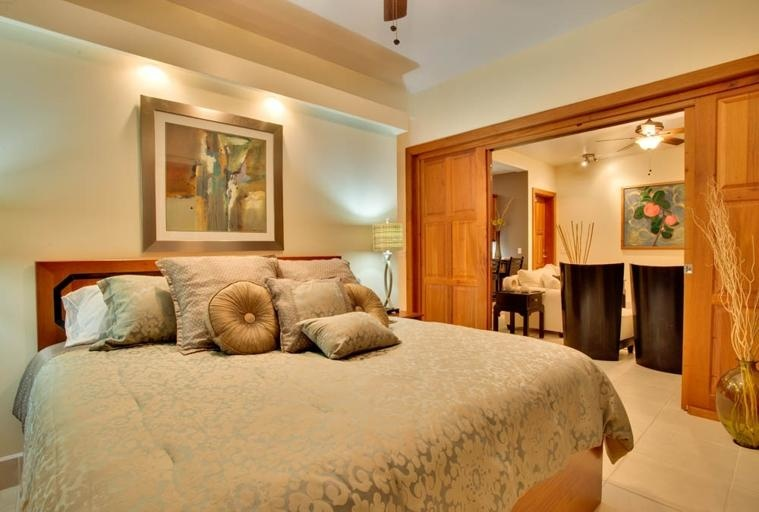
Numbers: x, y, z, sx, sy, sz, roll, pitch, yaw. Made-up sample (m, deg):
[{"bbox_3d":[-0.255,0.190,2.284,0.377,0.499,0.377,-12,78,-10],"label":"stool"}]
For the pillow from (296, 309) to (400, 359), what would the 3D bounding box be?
[{"bbox_3d":[-0.210,0.533,3.661,0.556,0.242,0.711,-9,12,-28],"label":"pillow"}]

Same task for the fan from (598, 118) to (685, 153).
[{"bbox_3d":[3.475,-1.642,6.621,0.782,0.295,0.809,-5,1,28],"label":"fan"}]

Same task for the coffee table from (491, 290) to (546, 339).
[{"bbox_3d":[1.819,0.748,6.492,0.607,0.628,0.565,-2,3,-28],"label":"coffee table"}]

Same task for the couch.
[{"bbox_3d":[2.244,0.503,6.844,0.778,0.881,1.133,-5,-6,44],"label":"couch"}]

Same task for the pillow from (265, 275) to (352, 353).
[{"bbox_3d":[-0.540,0.367,3.571,0.555,0.527,0.168,0,-26,-40],"label":"pillow"}]

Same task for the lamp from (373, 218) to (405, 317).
[{"bbox_3d":[0.090,0.122,5.485,0.313,0.987,0.314,-1,0,21],"label":"lamp"}]

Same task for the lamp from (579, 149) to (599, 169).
[{"bbox_3d":[3.608,-1.720,8.609,0.249,0.180,0.268,-3,1,1],"label":"lamp"}]

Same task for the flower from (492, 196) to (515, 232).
[{"bbox_3d":[2.289,-0.716,9.516,0.237,0.566,0.260,9,-7,14],"label":"flower"}]

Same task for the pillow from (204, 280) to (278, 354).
[{"bbox_3d":[-0.992,0.474,3.501,0.159,0.474,0.472,-33,-7,41],"label":"pillow"}]
